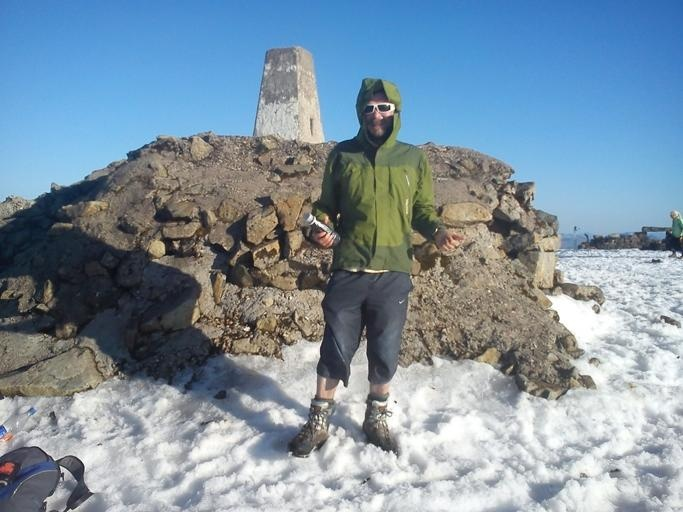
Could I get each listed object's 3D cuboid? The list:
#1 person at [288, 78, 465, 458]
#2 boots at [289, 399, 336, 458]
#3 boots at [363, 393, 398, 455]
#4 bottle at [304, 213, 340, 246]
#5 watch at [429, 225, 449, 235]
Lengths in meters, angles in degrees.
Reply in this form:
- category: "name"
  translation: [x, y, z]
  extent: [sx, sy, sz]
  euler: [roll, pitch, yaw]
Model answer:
- category: "person"
  translation: [0.234, 0.081, 4.387]
  extent: [1.253, 3.384, 0.395]
  euler: [1, 1, -5]
- category: "boots"
  translation: [-0.263, 1.557, 4.381]
  extent: [0.591, 0.452, 0.189]
  euler: [2, -11, -42]
- category: "boots"
  translation: [0.368, 1.509, 4.427]
  extent: [0.165, 0.377, 0.479]
  euler: [-2, 10, -7]
- category: "bottle"
  translation: [-0.178, -0.232, 4.259]
  extent: [0.154, 0.164, 0.483]
  euler: [23, -11, 41]
- category: "watch"
  translation: [0.860, -0.239, 4.319]
  extent: [0.090, 0.101, 0.098]
  euler: [-7, 0, 22]
